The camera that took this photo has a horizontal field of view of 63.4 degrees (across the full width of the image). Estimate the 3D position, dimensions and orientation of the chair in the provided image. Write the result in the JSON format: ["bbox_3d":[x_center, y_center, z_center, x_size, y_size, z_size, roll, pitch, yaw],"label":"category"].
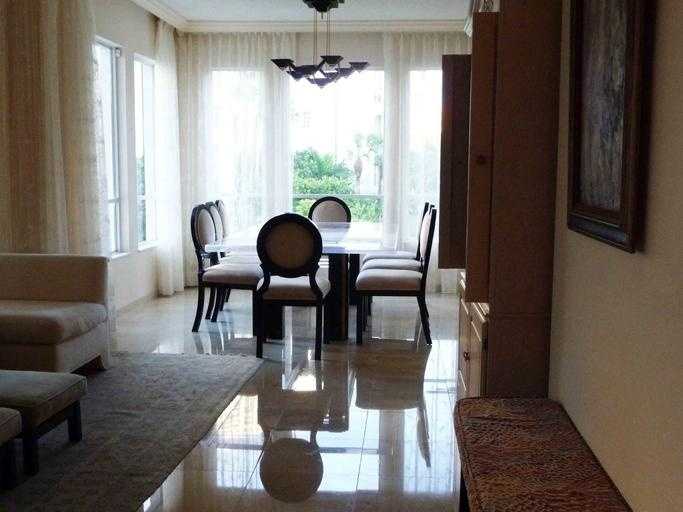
[{"bbox_3d":[-0.339,0.009,5.664,2.319,1.229,2.660,-5,10,-9],"label":"chair"}]
